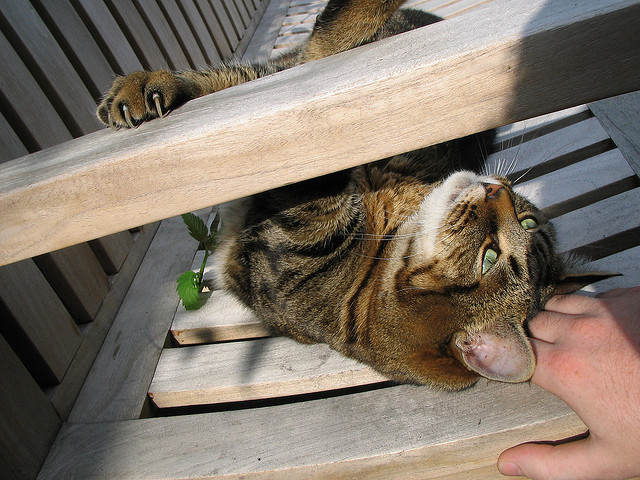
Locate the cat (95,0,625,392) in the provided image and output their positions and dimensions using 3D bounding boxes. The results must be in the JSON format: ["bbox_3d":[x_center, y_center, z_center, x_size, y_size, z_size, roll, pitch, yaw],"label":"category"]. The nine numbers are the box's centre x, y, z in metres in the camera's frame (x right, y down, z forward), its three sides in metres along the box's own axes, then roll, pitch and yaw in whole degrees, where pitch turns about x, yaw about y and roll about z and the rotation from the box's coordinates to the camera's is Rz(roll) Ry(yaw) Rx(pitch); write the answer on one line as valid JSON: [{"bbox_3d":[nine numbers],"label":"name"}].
[{"bbox_3d":[0.199,-0.001,2.237,1.766,0.697,1.222,41,74,21],"label":"cat"}]
